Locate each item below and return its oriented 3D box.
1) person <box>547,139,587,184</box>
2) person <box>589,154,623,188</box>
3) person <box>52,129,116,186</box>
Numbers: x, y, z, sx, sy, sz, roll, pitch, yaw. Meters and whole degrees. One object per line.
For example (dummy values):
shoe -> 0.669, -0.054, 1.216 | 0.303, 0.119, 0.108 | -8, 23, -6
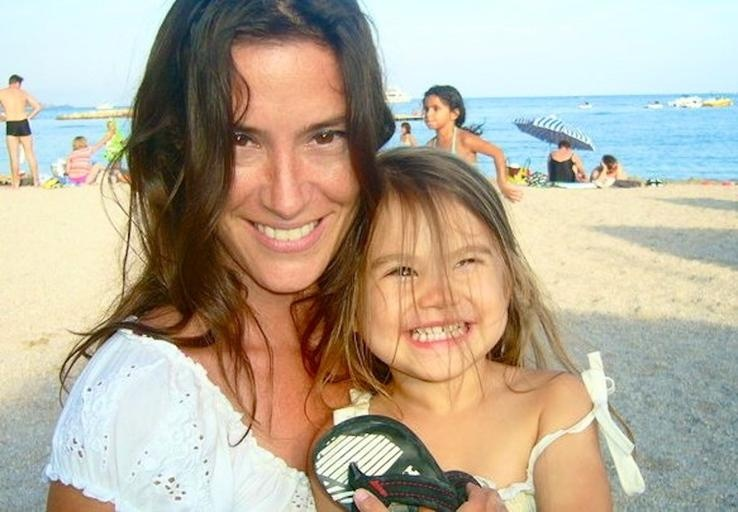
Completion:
person -> 3.630, -1.567, 12.636 | 0.725, 1.113, 0.610 | 7, -7, 22
person -> 4.479, -1.557, 12.837 | 0.592, 0.401, 0.805 | 8, -25, 18
person -> -5.442, -1.795, 13.258 | 0.898, 1.590, 1.060 | -2, -4, -24
